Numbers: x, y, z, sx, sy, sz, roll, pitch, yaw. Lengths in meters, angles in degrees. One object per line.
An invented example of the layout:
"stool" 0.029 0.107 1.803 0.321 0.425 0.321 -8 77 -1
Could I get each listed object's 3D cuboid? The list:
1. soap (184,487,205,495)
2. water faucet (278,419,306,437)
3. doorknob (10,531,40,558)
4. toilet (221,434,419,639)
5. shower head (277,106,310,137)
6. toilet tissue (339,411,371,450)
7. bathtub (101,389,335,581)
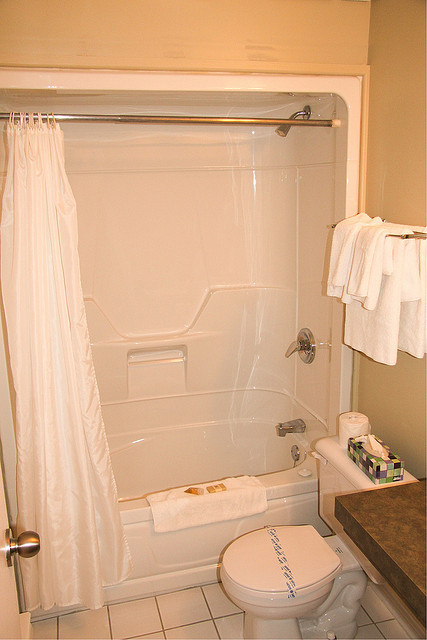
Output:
"soap" -0.072 0.653 1.874 0.081 0.010 0.041 -2 2 16
"water faucet" 0.386 0.529 2.388 0.115 0.049 0.071 -10 14 -28
"doorknob" -0.312 0.373 0.818 0.054 0.036 0.028 -10 -2 -1
"toilet" 0.250 0.770 1.833 0.705 0.833 0.463 -1 8 -11
"shower head" 0.326 -0.827 2.036 0.082 0.066 0.283 -3 11 -9
"toilet tissue" 0.527 0.412 1.837 0.118 0.138 0.117 5 -7 -41
"bathtub" 0.036 0.683 2.135 0.836 0.328 0.639 -4 15 -16
